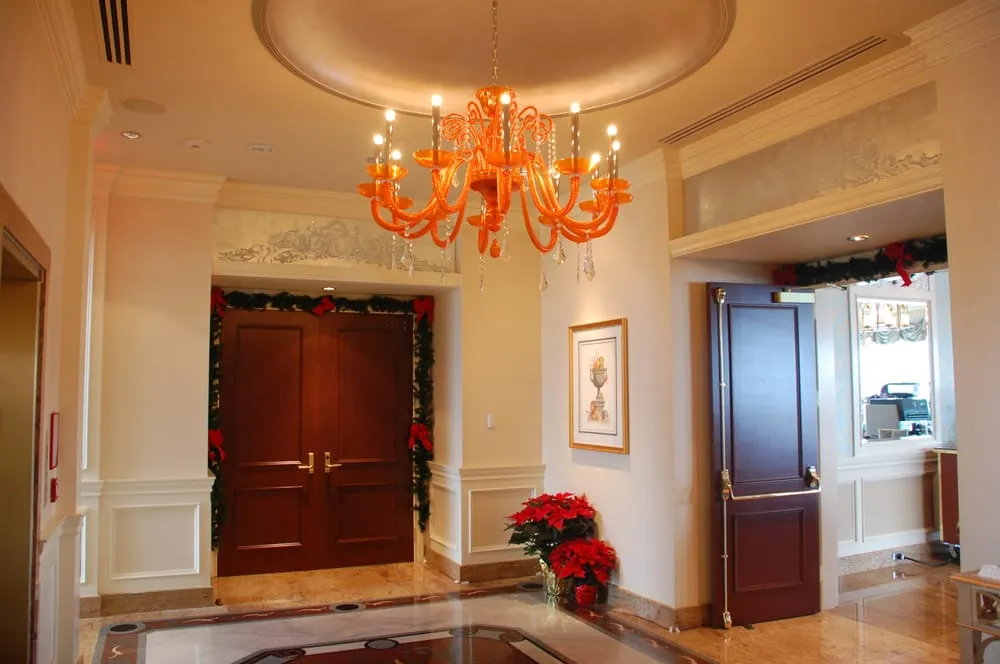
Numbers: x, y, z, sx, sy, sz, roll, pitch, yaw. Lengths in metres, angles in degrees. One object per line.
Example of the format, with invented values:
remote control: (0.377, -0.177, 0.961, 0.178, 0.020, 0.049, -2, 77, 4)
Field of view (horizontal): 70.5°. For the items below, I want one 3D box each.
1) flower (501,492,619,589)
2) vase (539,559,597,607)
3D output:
flower: (0.605, 2.019, 6.808, 0.853, 0.627, 0.858, 9, -6, -19)
vase: (0.675, 2.435, 6.817, 0.324, 0.427, 0.441, 2, -10, -6)
